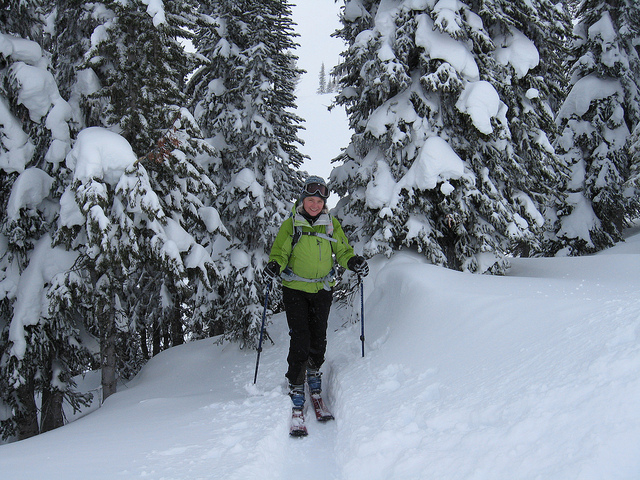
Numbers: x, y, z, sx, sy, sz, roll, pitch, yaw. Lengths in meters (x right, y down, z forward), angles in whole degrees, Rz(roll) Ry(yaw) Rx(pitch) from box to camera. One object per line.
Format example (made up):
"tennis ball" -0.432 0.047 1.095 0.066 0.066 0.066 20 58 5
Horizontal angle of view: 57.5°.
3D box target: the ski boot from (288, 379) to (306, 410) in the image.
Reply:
"ski boot" -0.403 2.823 10.512 0.282 0.527 0.370 -5 8 -6
